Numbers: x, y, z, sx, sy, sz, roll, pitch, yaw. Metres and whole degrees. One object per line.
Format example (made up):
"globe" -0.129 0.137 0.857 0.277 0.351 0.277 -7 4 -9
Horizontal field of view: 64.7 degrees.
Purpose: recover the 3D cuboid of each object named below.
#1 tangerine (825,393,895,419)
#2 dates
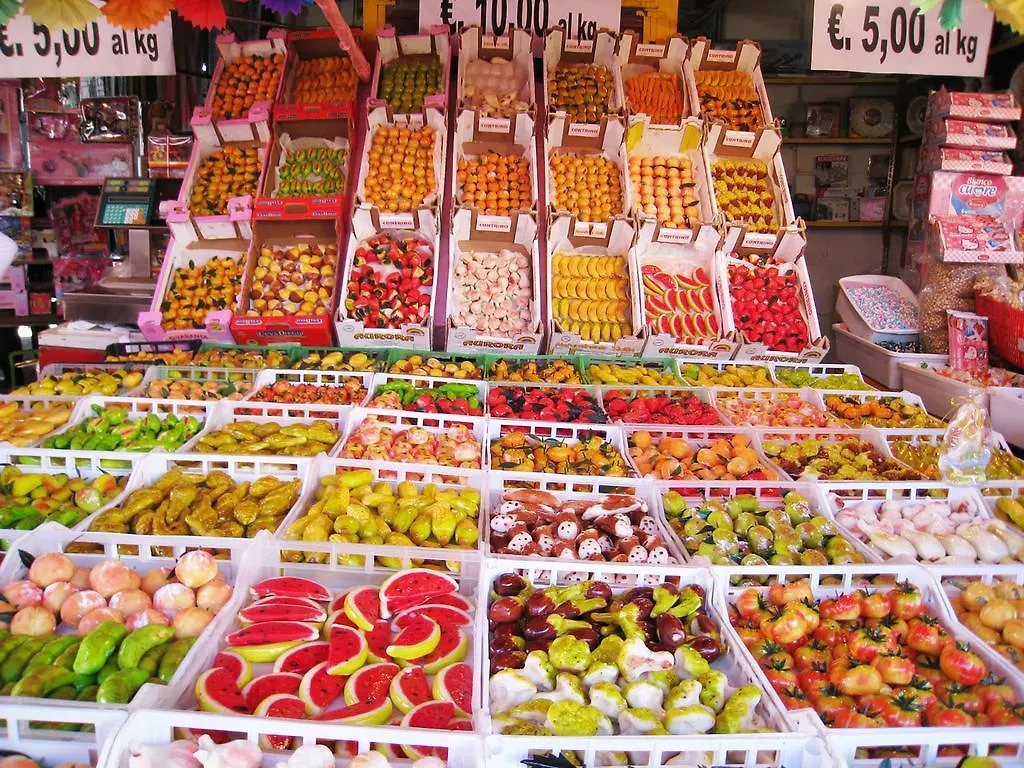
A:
"tangerine" 2.088 0.132 4.875 0.212 0.065 0.211 -1 11 -4
"dates" -0.860 0.538 3.402 0.893 0.239 0.475 2 13 3
